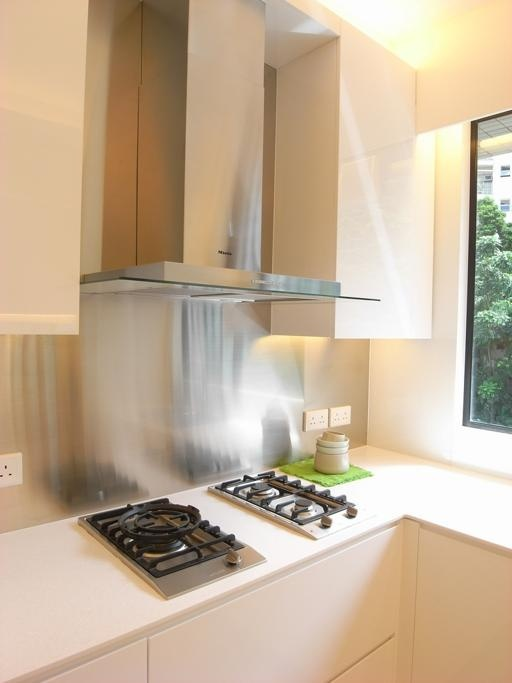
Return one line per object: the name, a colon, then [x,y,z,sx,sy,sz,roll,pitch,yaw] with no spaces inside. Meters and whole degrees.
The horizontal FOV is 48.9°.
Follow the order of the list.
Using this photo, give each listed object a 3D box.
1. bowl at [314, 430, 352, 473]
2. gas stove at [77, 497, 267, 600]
bowl: [0.268,0.401,2.049,0.131,0.139,0.131,0,-5,0]
gas stove: [-0.215,0.468,1.383,0.281,0.060,0.485,-2,8,-38]
